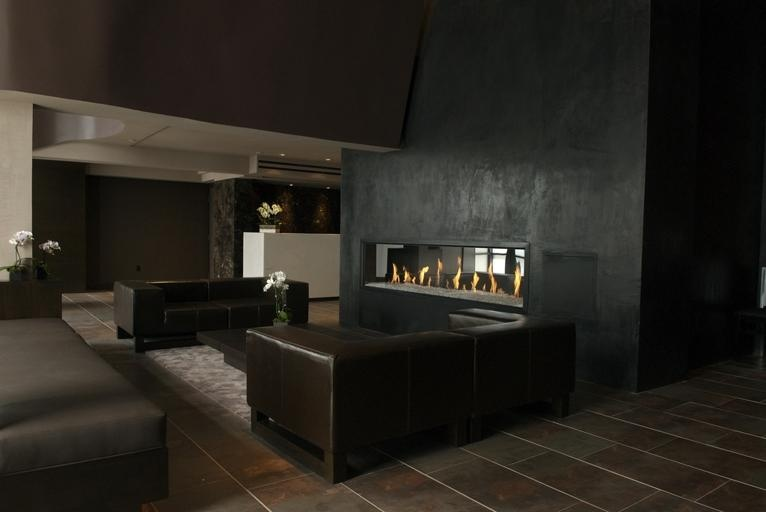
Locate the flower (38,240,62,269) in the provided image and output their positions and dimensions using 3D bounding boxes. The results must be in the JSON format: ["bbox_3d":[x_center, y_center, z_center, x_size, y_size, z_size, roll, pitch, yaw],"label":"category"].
[{"bbox_3d":[-6.816,-0.057,10.944,0.462,0.516,0.393,15,-19,-12],"label":"flower"}]

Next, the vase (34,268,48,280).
[{"bbox_3d":[-5.079,0.254,7.951,0.131,0.179,0.353,-8,14,-32],"label":"vase"}]
